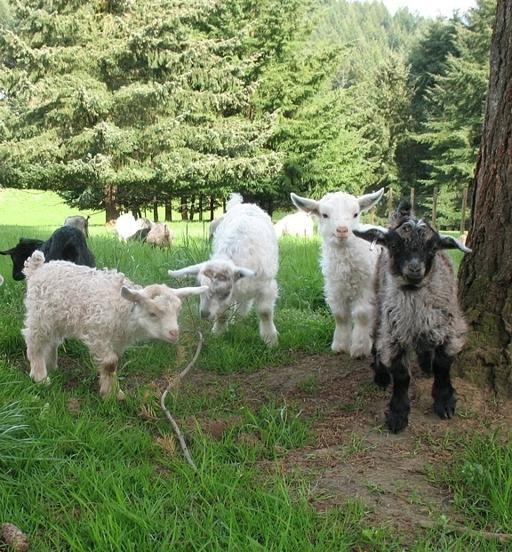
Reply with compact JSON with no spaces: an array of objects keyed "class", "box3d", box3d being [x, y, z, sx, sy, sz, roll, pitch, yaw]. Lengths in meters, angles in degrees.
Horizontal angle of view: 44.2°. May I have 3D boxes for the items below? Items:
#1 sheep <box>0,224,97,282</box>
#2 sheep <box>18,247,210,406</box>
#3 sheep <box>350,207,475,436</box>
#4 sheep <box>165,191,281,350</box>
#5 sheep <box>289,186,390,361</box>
[{"class":"sheep","box3d":[-2.184,-0.292,6.832,0.638,0.778,1.287,-10,7,-40]},{"class":"sheep","box3d":[-1.279,0.423,4.928,1.403,1.024,0.724,10,4,19]},{"class":"sheep","box3d":[1.091,0.277,4.325,0.677,1.364,0.846,2,8,19]},{"class":"sheep","box3d":[-0.203,-0.015,6.597,0.646,1.133,2.036,-2,20,7]},{"class":"sheep","box3d":[0.961,0.013,6.244,0.692,1.648,1.539,-1,2,25]}]
